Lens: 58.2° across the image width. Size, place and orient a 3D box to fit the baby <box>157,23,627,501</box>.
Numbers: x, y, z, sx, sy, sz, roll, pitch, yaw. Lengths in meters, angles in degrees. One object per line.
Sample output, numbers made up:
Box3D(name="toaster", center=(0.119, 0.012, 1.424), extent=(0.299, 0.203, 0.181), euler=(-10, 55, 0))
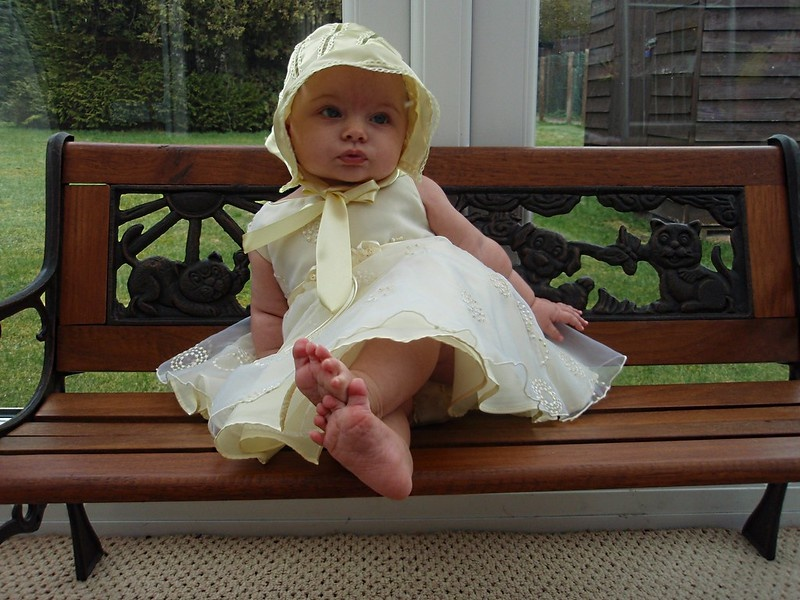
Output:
Box3D(name="baby", center=(-0.037, -0.132, 1.855), extent=(1.192, 0.746, 1.143), euler=(-1, 21, -2))

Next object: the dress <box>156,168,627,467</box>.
Box3D(name="dress", center=(0.001, 0.041, 1.642), extent=(0.815, 0.470, 0.802), euler=(-1, -3, -15))
